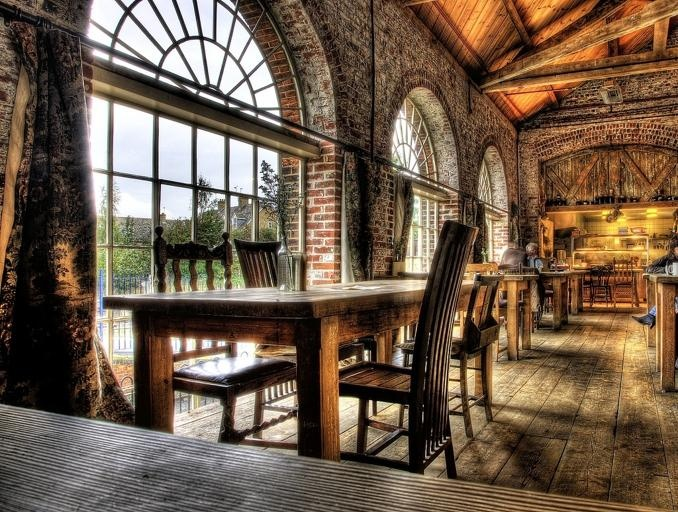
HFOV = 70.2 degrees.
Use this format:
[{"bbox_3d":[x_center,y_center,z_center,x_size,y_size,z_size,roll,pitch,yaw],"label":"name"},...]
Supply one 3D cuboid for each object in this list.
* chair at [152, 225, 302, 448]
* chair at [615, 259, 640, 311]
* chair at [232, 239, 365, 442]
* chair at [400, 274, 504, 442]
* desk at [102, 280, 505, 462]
[{"bbox_3d":[-0.527,0.456,2.379,0.615,1.063,0.705,-2,-3,14],"label":"chair"},{"bbox_3d":[7.096,0.631,11.876,0.536,0.998,2.428,1,0,30],"label":"chair"},{"bbox_3d":[-0.220,0.540,2.963,0.782,1.308,0.727,7,-1,0],"label":"chair"},{"bbox_3d":[0.708,0.607,3.060,0.600,0.965,0.657,2,0,4],"label":"chair"},{"bbox_3d":[-0.321,0.436,1.938,1.156,0.578,0.616,0,0,8],"label":"desk"}]
